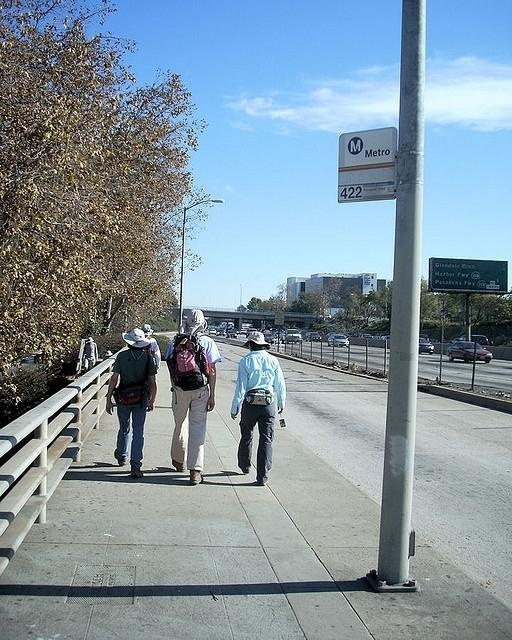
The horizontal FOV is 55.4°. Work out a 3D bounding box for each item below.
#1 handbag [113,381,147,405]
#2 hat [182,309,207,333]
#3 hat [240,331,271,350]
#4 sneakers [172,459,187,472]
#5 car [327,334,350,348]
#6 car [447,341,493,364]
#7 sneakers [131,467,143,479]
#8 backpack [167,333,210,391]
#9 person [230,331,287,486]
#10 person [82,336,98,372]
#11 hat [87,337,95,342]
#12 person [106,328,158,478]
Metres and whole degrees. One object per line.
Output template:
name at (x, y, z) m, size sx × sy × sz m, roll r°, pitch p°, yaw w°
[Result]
handbag at (-1.471, 0.868, 5.699) m, size 0.265 × 0.291 × 0.119 m, roll -2°, pitch -7°, yaw 13°
hat at (-0.715, 0.020, 5.714) m, size 0.216 × 0.329 × 0.304 m, roll 2°, pitch 7°, yaw 2°
hat at (0.018, 0.274, 6.044) m, size 0.228 × 0.152 × 0.278 m, roll 4°, pitch 7°, yaw 7°
sneakers at (-0.916, 1.763, 5.855) m, size 0.169 × 0.183 × 0.109 m, roll 1°, pitch 8°, yaw -7°
car at (10.171, 2.636, 59.134) m, size 1.390 × 1.278 × 3.295 m, roll 1°, pitch -5°, yaw -5°
car at (17.671, 2.745, 39.985) m, size 1.777 × 1.584 × 4.188 m, roll 2°, pitch -4°, yaw -15°
sneakers at (-1.335, 1.728, 5.491) m, size 0.148 × 0.113 × 0.114 m, roll 6°, pitch -6°, yaw -28°
backpack at (-0.735, 0.483, 5.429) m, size 0.493 × 0.743 × 0.395 m, roll -3°, pitch -15°, yaw -7°
person at (0.039, 1.020, 5.765) m, size 0.597 × 1.739 × 0.599 m, roll 2°, pitch -4°, yaw 3°
person at (-6.748, 1.429, 19.779) m, size 0.562 × 1.459 × 2.209 m, roll 4°, pitch -5°, yaw -19°
hat at (-7.100, 0.863, 20.852) m, size 0.199 × 0.268 × 0.639 m, roll -3°, pitch -3°, yaw -16°
person at (-1.509, 0.954, 5.904) m, size 0.576 × 1.708 × 0.924 m, roll 4°, pitch -5°, yaw -17°
